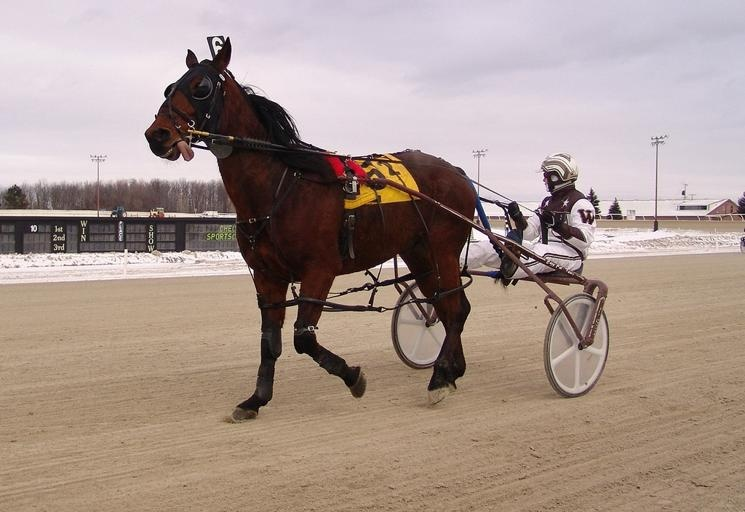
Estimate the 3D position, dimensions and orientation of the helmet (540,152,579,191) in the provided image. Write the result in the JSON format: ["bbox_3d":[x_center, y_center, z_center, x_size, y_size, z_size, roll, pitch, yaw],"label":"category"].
[{"bbox_3d":[1.865,-0.829,6.455,0.403,0.435,0.433,-8,11,-26],"label":"helmet"}]

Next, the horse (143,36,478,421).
[{"bbox_3d":[-0.281,-0.074,5.470,3.273,2.907,0.836,2,-4,-34],"label":"horse"}]

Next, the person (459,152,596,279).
[{"bbox_3d":[1.509,-0.369,6.199,1.443,1.223,0.768,-5,5,-23],"label":"person"}]
